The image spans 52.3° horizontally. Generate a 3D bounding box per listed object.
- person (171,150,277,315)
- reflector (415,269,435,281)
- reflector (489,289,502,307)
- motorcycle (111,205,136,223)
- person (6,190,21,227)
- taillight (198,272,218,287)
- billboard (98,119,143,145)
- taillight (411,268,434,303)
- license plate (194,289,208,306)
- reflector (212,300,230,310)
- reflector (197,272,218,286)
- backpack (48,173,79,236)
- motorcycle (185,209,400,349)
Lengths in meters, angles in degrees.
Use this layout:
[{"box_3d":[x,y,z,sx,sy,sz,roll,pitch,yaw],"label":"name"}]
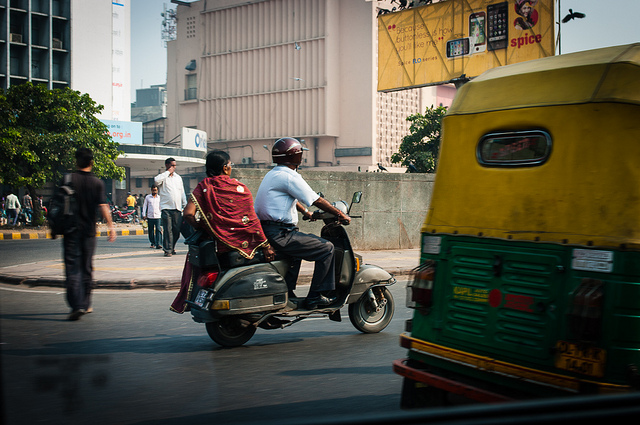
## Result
[{"box_3d":[-1.088,0.242,7.307,1.079,1.870,0.604,1,4,-10],"label":"person"},{"box_3d":[0.876,0.517,5.406,0.140,0.066,0.129,-1,-9,-6],"label":"reflector"},{"box_3d":[1.351,0.661,5.047,0.022,0.137,0.102,-3,6,-45],"label":"reflector"},{"box_3d":[-10.830,0.071,36.048,1.768,0.893,1.020,11,-9,-31],"label":"motorcycle"},{"box_3d":[-13.911,-0.101,29.614,0.518,1.444,0.963,-1,5,-24],"label":"person"},{"box_3d":[-1.194,0.706,7.018,0.176,0.133,0.159,7,10,31],"label":"taillight"},{"box_3d":[-15.774,-6.549,52.784,2.384,1.955,2.427,1,4,-2],"label":"billboard"},{"box_3d":[0.848,0.604,5.411,0.170,0.279,0.069,2,4,13],"label":"taillight"},{"box_3d":[-1.257,0.901,6.930,0.132,0.161,0.043,22,-6,41],"label":"license plate"},{"box_3d":[-1.039,0.969,6.867,0.135,0.068,0.118,1,-4,-7],"label":"reflector"},{"box_3d":[-1.211,0.712,6.994,0.120,0.166,0.189,9,4,37],"label":"reflector"},{"box_3d":[-3.190,-0.015,8.141,0.356,0.584,0.184,0,4,-15],"label":"backpack"},{"box_3d":[-0.241,0.684,7.690,2.784,1.486,1.082,1,-3,-32],"label":"motorcycle"}]
